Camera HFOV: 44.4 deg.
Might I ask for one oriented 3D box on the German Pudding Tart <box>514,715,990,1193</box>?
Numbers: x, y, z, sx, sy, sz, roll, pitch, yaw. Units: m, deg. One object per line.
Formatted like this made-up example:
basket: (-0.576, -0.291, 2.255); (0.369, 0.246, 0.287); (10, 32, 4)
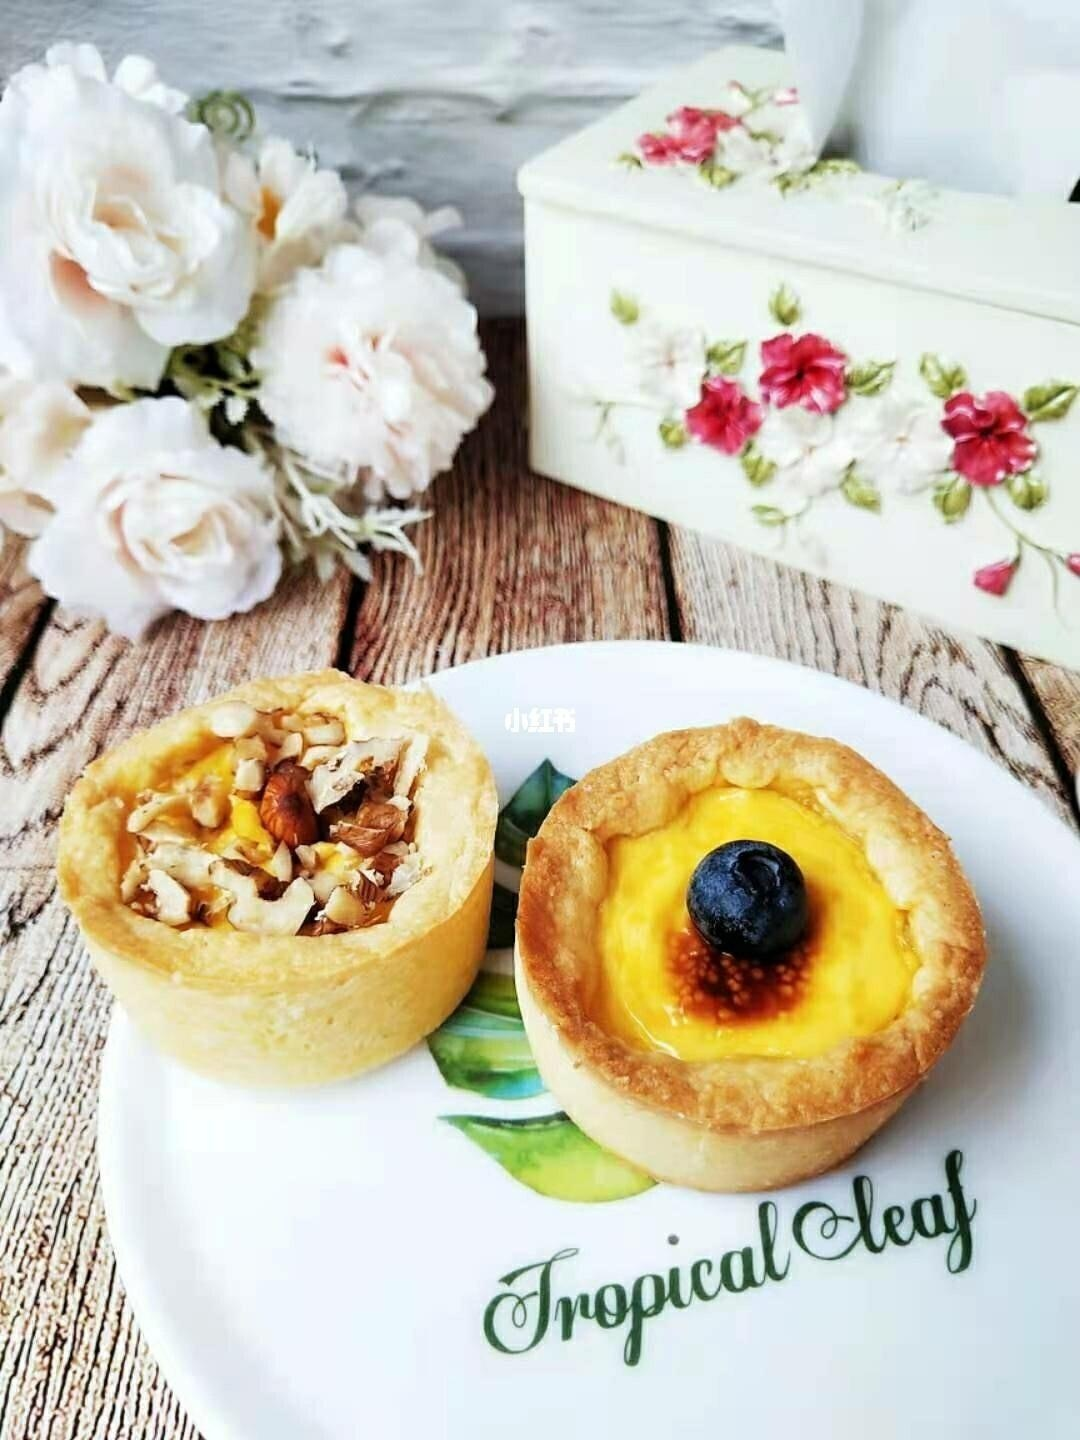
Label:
German Pudding Tart: (0.159, 0.155, 1.000); (0.340, 0.147, 0.322); (1, 46, 0)

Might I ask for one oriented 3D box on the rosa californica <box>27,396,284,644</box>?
rosa californica: (-0.409, -0.221, 1.467); (0.284, 0.245, 0.127); (17, 20, -36)

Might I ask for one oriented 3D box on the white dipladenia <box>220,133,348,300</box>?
white dipladenia: (-0.271, -0.573, 1.530); (0.148, 0.169, 0.130); (-22, 36, -18)
